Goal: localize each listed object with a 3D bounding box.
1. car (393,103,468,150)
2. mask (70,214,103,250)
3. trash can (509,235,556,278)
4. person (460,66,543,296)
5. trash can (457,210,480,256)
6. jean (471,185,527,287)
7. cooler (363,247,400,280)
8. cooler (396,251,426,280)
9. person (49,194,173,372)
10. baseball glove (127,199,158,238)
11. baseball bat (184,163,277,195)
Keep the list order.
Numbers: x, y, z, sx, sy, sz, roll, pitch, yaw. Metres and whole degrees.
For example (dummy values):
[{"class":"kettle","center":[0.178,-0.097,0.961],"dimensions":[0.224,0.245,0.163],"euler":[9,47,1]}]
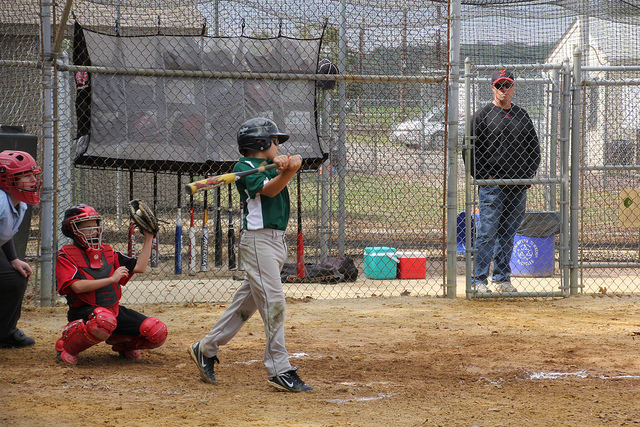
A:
[{"class":"car","center":[1.839,-1.311,15.990],"dimensions":[1.564,0.790,0.919],"euler":[2,8,-2]},{"class":"mask","center":[-2.491,0.192,10.594],"dimensions":[0.187,0.388,0.380],"euler":[13,19,42]},{"class":"trash can","center":[3.114,0.518,14.362],"dimensions":[0.650,0.737,0.638],"euler":[-6,16,-12]},{"class":"person","center":[2.367,-0.398,12.813],"dimensions":[1.091,3.023,0.797],"euler":[-2,14,-8]},{"class":"trash can","center":[2.426,0.306,15.410],"dimensions":[0.414,0.678,0.408],"euler":[6,3,9]},{"class":"jean","center":[2.397,0.346,13.083],"dimensions":[0.635,1.433,0.588],"euler":[1,0,3]},{"class":"cooler","center":[0.893,0.727,14.257],"dimensions":[0.443,0.435,0.447],"euler":[1,-6,-2]},{"class":"cooler","center":[1.394,0.886,14.413],"dimensions":[0.490,0.391,0.501],"euler":[3,-30,-1]},{"class":"person","center":[-2.284,0.718,10.661],"dimensions":[1.230,1.729,1.111],"euler":[-4,-3,-28]},{"class":"baseball glove","center":[-2.001,-0.016,10.647],"dimensions":[0.158,0.296,0.402],"euler":[-34,48,-14]},{"class":"baseball bat","center":[-1.032,-0.418,11.161],"dimensions":[1.242,0.175,0.131],"euler":[-20,28,-29]}]
